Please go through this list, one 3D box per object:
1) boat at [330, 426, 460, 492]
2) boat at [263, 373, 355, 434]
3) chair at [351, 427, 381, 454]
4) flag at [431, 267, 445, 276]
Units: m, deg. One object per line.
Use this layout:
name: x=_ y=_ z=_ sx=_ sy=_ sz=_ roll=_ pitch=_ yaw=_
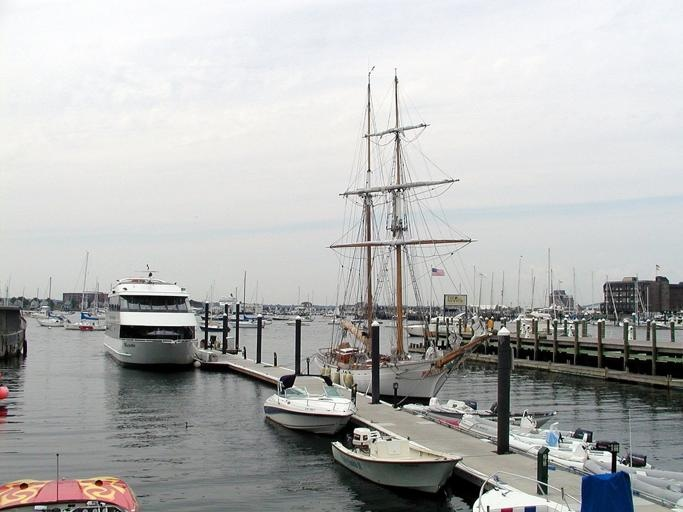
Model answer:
boat: x=1.880 y=8.303 z=30.638 sx=1.960 sy=1.446 sz=4.947 roll=2 pitch=-5 yaw=-35
boat: x=-1.508 y=7.417 z=37.629 sx=2.356 sy=2.786 sz=5.072 roll=5 pitch=-8 yaw=-42
chair: x=1.061 y=7.864 z=31.988 sx=1.195 sy=1.066 sz=0.809 roll=-2 pitch=0 yaw=-13
flag: x=5.955 y=1.041 z=46.798 sx=0.735 sy=0.510 sz=0.036 roll=2 pitch=-34 yaw=-1
